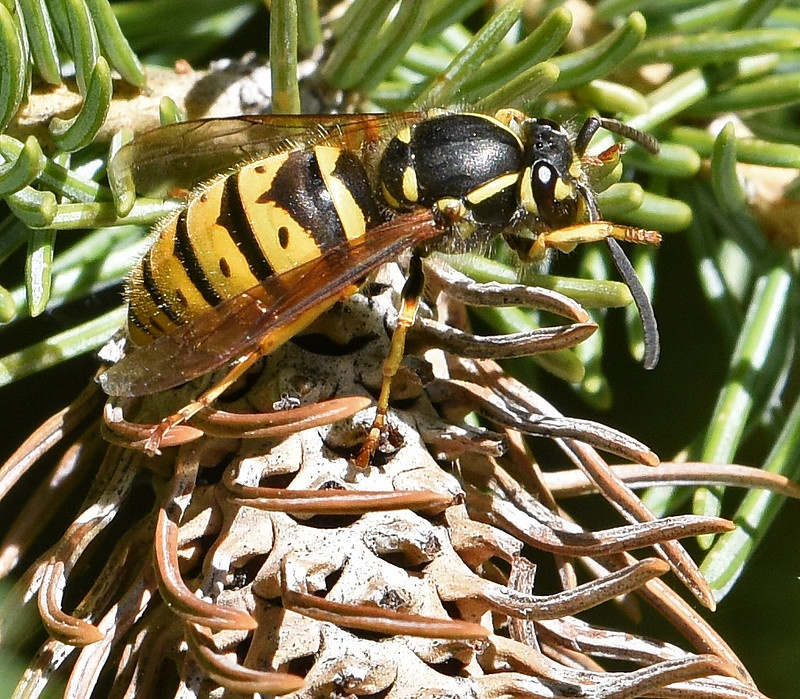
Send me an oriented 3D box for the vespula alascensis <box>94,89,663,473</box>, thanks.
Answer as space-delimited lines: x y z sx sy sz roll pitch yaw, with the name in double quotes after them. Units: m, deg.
-0.099 -0.196 1.710 0.623 0.572 1.015 -9 22 -16 "vespula alascensis"
